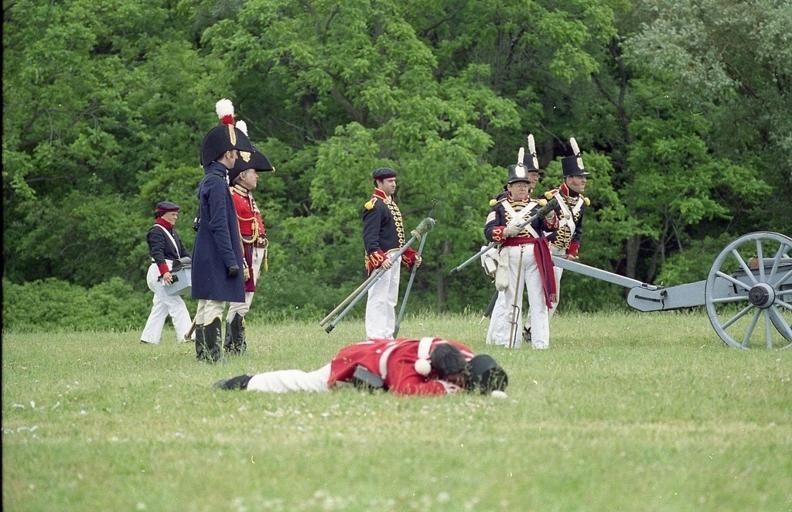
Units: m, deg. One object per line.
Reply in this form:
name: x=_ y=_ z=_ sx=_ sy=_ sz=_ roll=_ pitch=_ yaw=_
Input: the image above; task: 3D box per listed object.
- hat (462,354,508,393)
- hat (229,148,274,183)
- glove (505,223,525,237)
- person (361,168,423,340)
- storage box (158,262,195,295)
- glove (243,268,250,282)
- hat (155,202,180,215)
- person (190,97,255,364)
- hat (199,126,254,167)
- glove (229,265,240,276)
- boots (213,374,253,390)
hat: x=1.380 y=1.952 z=24.591 sx=0.649 sy=0.600 sz=0.462 roll=-10 pitch=24 yaw=-14
hat: x=-2.629 y=-1.632 z=27.551 sx=0.809 sy=0.392 sz=0.482 roll=-6 pitch=0 yaw=-16
glove: x=2.082 y=-0.459 z=27.566 sx=0.262 sy=0.227 sz=0.229 roll=3 pitch=-3 yaw=-5
person: x=-0.173 y=-0.067 z=27.936 sx=0.903 sy=2.849 sz=0.798 roll=-1 pitch=0 yaw=-2
storage box: x=-3.993 y=0.396 z=27.889 sx=0.502 sy=0.275 sz=0.623 roll=-24 pitch=-6 yaw=11
glove: x=-2.665 y=0.335 z=27.273 sx=0.078 sy=0.176 sz=0.144 roll=-1 pitch=5 yaw=43
hat: x=-4.445 y=-0.933 z=29.017 sx=0.415 sy=0.140 sz=0.367 roll=5 pitch=7 yaw=42
person: x=-3.102 y=-0.465 z=26.699 sx=0.946 sy=4.014 sz=0.533 roll=-1 pitch=0 yaw=-7
hat: x=-3.020 y=-1.942 z=26.681 sx=0.878 sy=0.511 sz=0.606 roll=-15 pitch=7 yaw=-14
glove: x=-2.826 y=0.265 z=26.585 sx=0.163 sy=0.175 sz=0.154 roll=-11 pitch=9 yaw=43
boots: x=-2.691 y=2.083 z=24.976 sx=0.481 sy=0.172 sz=0.276 roll=-2 pitch=9 yaw=12
